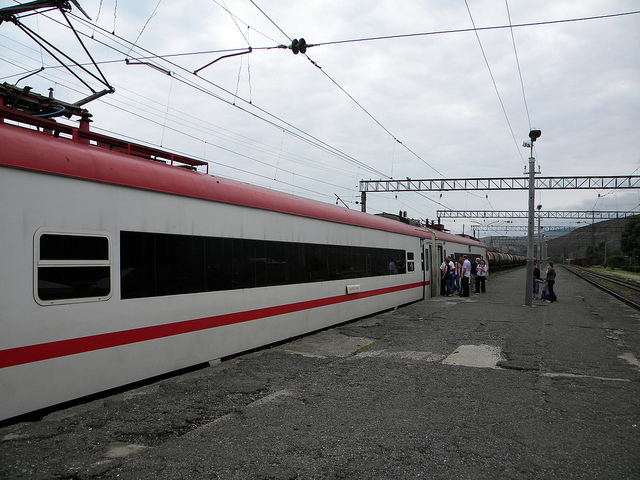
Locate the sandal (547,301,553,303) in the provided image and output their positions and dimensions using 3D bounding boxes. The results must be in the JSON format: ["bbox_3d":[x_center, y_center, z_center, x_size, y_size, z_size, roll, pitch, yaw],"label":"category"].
[{"bbox_3d":[9.681,2.613,18.311,0.174,0.028,0.515,1,1,22],"label":"sandal"}]

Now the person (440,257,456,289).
[{"bbox_3d":[6.062,1.465,20.589,0.877,1.213,0.422,4,4,15],"label":"person"}]
